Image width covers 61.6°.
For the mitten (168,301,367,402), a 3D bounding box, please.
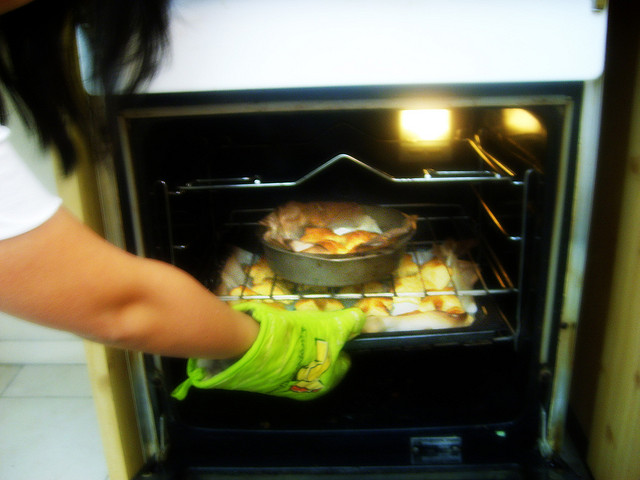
[{"bbox_3d":[-0.086,0.188,1.157,0.396,0.207,0.362,-2,22,-6],"label":"mitten"}]
